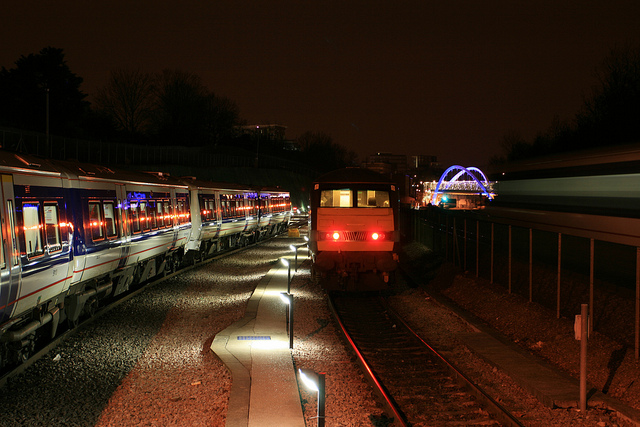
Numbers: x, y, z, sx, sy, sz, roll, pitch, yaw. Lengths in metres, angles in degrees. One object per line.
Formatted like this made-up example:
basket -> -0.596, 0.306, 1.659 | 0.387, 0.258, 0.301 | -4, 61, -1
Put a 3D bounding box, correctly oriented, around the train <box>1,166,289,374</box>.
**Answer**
train -> -6.599, 0.835, 17.752 | 1.290, 4.476, 19.159 | 1, 2, 0
